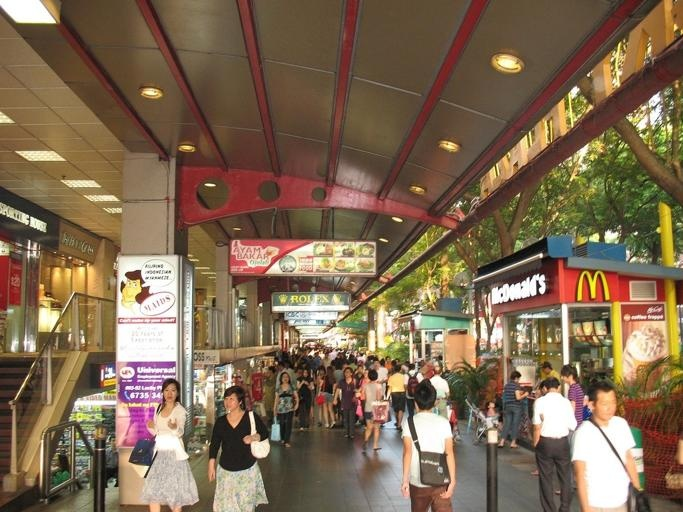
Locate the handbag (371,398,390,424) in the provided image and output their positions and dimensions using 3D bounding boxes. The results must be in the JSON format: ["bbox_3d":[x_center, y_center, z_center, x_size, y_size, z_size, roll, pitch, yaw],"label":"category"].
[{"bbox_3d":[0.920,3.733,12.394,0.267,0.496,0.561,-10,-16,38],"label":"handbag"}]

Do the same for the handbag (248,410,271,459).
[{"bbox_3d":[-0.971,2.108,6.064,0.232,0.550,0.471,2,-13,-6],"label":"handbag"}]

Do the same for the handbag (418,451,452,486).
[{"bbox_3d":[0.892,2.084,5.021,0.289,0.330,0.128,2,-17,1],"label":"handbag"}]

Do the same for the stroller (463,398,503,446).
[{"bbox_3d":[3.663,4.214,13.344,0.911,1.031,0.950,-18,-18,9],"label":"stroller"}]

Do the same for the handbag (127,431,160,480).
[{"bbox_3d":[-2.515,2.539,6.496,0.301,0.488,0.254,7,-14,-28],"label":"handbag"}]

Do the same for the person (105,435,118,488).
[{"bbox_3d":[-7.034,6.336,15.769,0.315,1.160,2.027,6,-14,-23],"label":"person"}]
